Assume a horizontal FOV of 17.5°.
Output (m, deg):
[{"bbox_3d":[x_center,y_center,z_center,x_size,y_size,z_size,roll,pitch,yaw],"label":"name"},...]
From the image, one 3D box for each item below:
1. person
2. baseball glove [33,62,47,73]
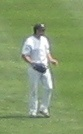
[{"bbox_3d":[-0.064,0.079,4.312,0.357,1.521,0.596,8,12,42],"label":"person"},{"bbox_3d":[-0.056,0.018,4.111,0.117,0.186,0.285,4,10,24],"label":"baseball glove"}]
